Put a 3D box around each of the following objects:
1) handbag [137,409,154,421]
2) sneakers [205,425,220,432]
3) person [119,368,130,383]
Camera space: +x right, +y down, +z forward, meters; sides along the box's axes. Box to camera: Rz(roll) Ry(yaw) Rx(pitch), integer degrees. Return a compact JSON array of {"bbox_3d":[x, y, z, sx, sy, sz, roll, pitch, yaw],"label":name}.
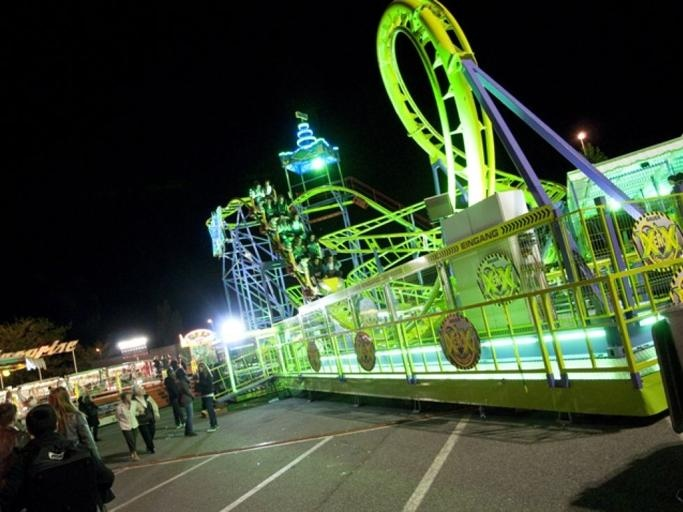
[{"bbox_3d":[-5.248,4.252,12.042,0.325,0.220,0.324,-6,1,7],"label":"handbag"},{"bbox_3d":[-3.825,5.097,13.330,0.160,0.196,0.478,-4,-21,7],"label":"sneakers"},{"bbox_3d":[-18.831,10.281,38.983,0.997,1.490,0.444,-12,-17,43],"label":"person"}]
